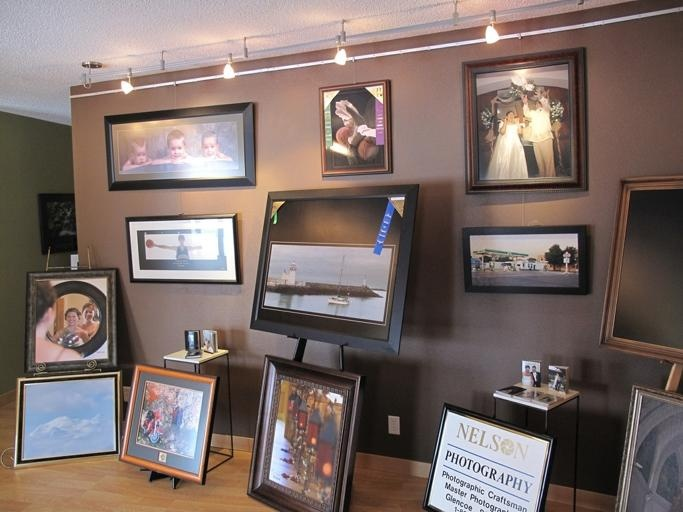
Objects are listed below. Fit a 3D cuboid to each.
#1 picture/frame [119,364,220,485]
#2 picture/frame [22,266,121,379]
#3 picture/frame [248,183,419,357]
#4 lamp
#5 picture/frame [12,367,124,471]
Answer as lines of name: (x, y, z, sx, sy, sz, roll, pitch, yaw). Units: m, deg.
picture/frame: (-1.374, 1.360, 4.182, 0.736, 0.861, 0.193, 6, -18, 18)
picture/frame: (-2.405, 0.605, 4.707, 0.934, 1.153, 0.081, 0, -3, -1)
picture/frame: (-0.011, 0.097, 3.815, 1.210, 1.506, 0.252, 5, -10, 24)
lamp: (-0.373, -1.536, 4.076, 3.052, 0.319, 0.495, 3, 13, 19)
picture/frame: (-2.285, 1.394, 4.437, 0.714, 0.682, 0.052, 1, -12, -15)
